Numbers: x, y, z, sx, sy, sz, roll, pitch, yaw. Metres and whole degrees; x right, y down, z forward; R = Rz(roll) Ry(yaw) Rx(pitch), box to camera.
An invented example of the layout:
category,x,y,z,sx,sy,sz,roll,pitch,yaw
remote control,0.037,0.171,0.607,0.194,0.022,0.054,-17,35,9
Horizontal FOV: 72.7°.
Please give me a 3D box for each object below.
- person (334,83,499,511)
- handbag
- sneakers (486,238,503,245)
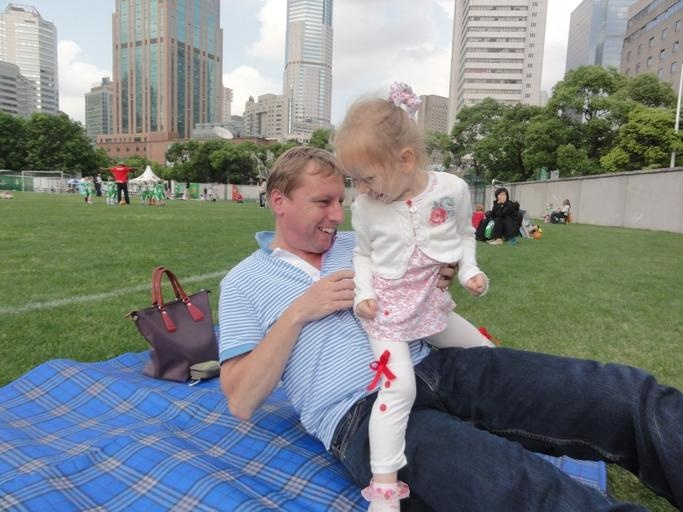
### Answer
category,x,y,z,sx,sy,sz,roll,pitch,yaw
person,0.353,0.209,2.604,0.867,2.015,0.802,-2,-12,-14
handbag,-1.388,0.563,3.825,0.356,0.745,0.676,-10,-2,36
sneakers,4.076,-0.388,12.355,0.554,0.260,0.199,4,-4,-40
